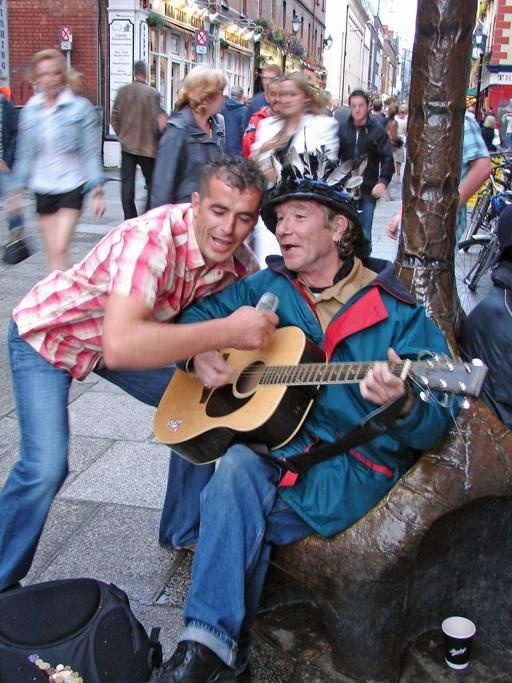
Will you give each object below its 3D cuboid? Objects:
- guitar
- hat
[{"bbox_3d":[0.103,0.176,1.553,1.080,0.157,0.453,-3,54,45],"label":"guitar"},{"bbox_3d":[0.212,-0.598,1.898,0.313,0.367,0.372,12,-10,-8],"label":"hat"}]
